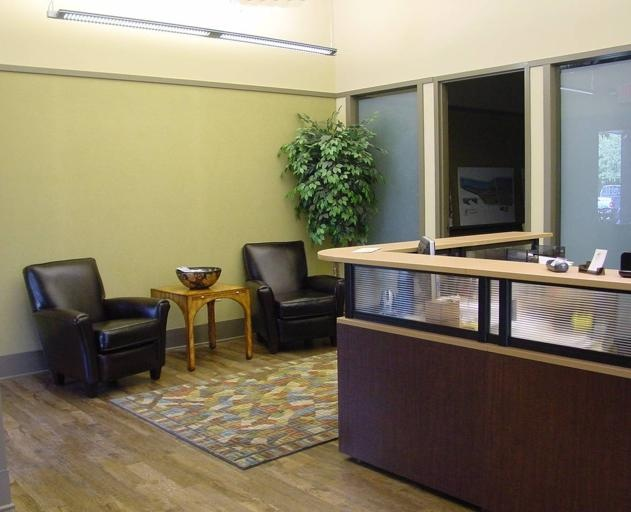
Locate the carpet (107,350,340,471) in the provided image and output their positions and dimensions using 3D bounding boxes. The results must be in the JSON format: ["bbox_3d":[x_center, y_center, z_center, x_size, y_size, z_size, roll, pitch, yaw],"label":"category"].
[{"bbox_3d":[-0.493,1.210,4.027,1.871,0.023,1.899,-4,5,-34],"label":"carpet"}]

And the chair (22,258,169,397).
[{"bbox_3d":[-2.028,0.577,4.952,1.294,1.328,1.198,3,6,35],"label":"chair"}]

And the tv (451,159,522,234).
[{"bbox_3d":[2.395,-0.827,6.711,0.273,0.856,1.561,2,6,44],"label":"tv"}]

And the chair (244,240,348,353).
[{"bbox_3d":[-0.188,0.405,6.107,1.264,1.341,1.253,-2,1,-28],"label":"chair"}]

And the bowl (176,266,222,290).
[{"bbox_3d":[-1.223,0.224,5.106,0.317,0.132,0.313,0,1,0],"label":"bowl"}]

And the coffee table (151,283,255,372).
[{"bbox_3d":[-1.190,0.727,5.390,0.890,0.904,0.955,-4,6,-44],"label":"coffee table"}]
